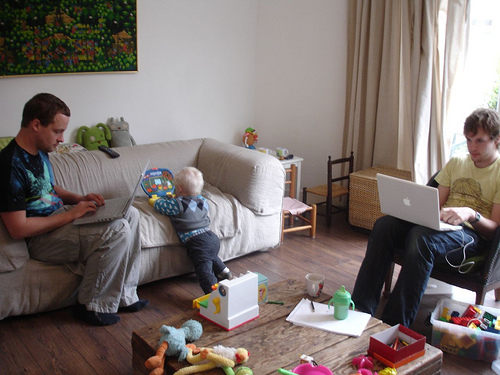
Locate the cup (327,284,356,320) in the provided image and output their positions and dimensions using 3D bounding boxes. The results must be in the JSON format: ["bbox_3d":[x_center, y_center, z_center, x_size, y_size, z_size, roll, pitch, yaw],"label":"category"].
[{"bbox_3d":[0.444,0.553,1.805,0.121,0.155,0.090,1,11,6],"label":"cup"}]

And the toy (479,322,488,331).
[{"bbox_3d":[1.299,0.772,2.075,0.051,0.024,0.035,-14,20,-36],"label":"toy"}]

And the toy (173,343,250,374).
[{"bbox_3d":[-0.138,0.680,1.496,0.155,0.063,0.135,4,6,-11],"label":"toy"}]

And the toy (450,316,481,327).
[{"bbox_3d":[1.224,0.761,2.123,0.089,0.025,0.055,-2,19,1],"label":"toy"}]

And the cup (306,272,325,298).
[{"bbox_3d":[0.355,0.513,2.037,0.095,0.120,0.110,-4,13,-24],"label":"cup"}]

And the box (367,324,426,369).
[{"bbox_3d":[0.624,0.671,1.585,0.229,0.106,0.173,-16,21,-39],"label":"box"}]

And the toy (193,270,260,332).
[{"bbox_3d":[-0.112,0.484,1.800,0.229,0.206,0.238,12,17,38],"label":"toy"}]

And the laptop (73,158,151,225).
[{"bbox_3d":[-0.899,0.030,2.359,0.316,0.233,0.359,5,14,-1],"label":"laptop"}]

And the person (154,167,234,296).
[{"bbox_3d":[-0.402,0.269,2.688,0.538,0.797,0.258,11,20,40],"label":"person"}]

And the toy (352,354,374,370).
[{"bbox_3d":[0.464,0.705,1.517,0.050,0.024,0.052,-11,24,-24],"label":"toy"}]

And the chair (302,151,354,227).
[{"bbox_3d":[0.869,0.011,4.034,0.479,0.922,0.437,-14,27,-34],"label":"chair"}]

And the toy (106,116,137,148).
[{"bbox_3d":[-1.325,-0.509,3.825,0.286,0.469,0.117,-7,-26,-32],"label":"toy"}]

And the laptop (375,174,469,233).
[{"bbox_3d":[1.023,0.101,2.298,0.476,0.339,0.267,11,20,38],"label":"laptop"}]

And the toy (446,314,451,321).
[{"bbox_3d":[1.171,0.762,2.202,0.006,0.021,0.022,36,-6,-27],"label":"toy"}]
